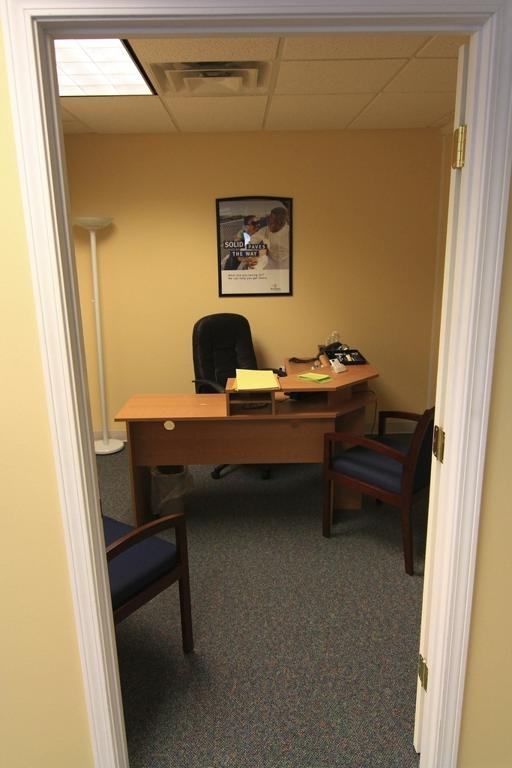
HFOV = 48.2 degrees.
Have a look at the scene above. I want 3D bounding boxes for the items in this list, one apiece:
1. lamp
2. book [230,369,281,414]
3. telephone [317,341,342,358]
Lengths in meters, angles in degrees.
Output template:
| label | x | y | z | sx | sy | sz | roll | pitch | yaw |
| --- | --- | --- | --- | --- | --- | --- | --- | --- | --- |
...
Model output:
| label | x | y | z | sx | sy | sz | roll | pitch | yaw |
| --- | --- | --- | --- | --- | --- | --- | --- | --- | --- |
| lamp | -1.199 | -0.356 | 4.449 | 0.285 | 1.804 | 0.556 | -5 | 13 | -17 |
| book | -0.023 | 0.053 | 3.144 | 0.281 | 0.198 | 0.371 | -2 | 13 | -3 |
| telephone | 0.529 | -0.240 | 4.014 | 0.173 | 0.043 | 0.126 | -8 | 36 | -5 |
